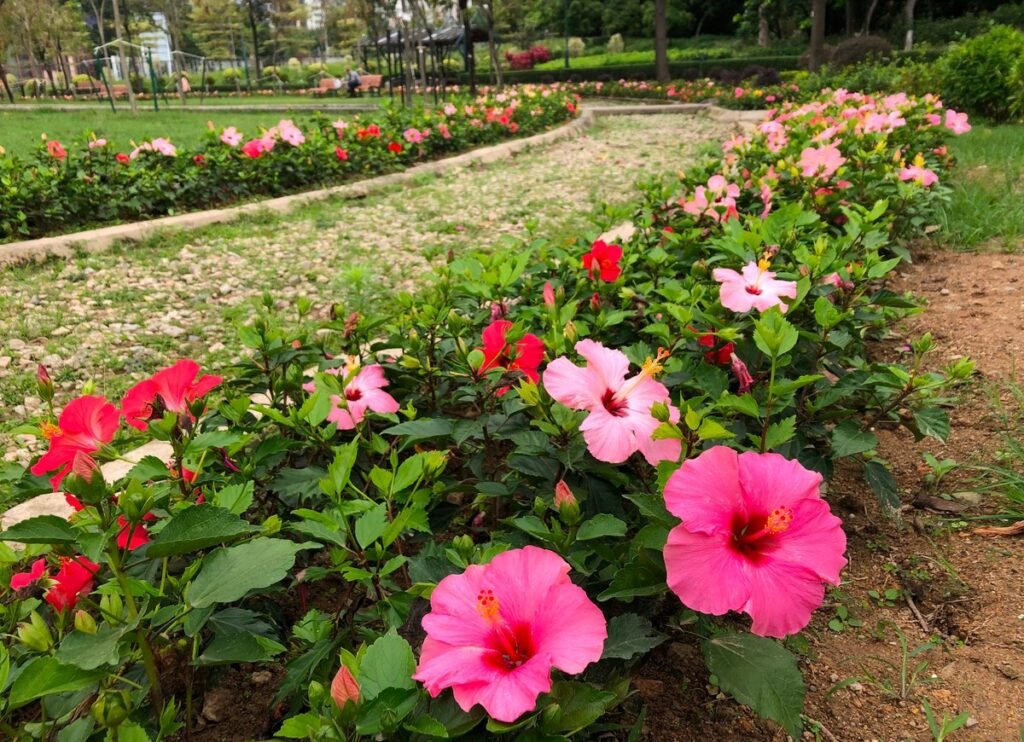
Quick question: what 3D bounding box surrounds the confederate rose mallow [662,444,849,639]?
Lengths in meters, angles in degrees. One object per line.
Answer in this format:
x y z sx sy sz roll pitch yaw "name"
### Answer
0.571 0.348 1.750 0.401 0.195 0.387 36 53 9 "confederate rose mallow"
